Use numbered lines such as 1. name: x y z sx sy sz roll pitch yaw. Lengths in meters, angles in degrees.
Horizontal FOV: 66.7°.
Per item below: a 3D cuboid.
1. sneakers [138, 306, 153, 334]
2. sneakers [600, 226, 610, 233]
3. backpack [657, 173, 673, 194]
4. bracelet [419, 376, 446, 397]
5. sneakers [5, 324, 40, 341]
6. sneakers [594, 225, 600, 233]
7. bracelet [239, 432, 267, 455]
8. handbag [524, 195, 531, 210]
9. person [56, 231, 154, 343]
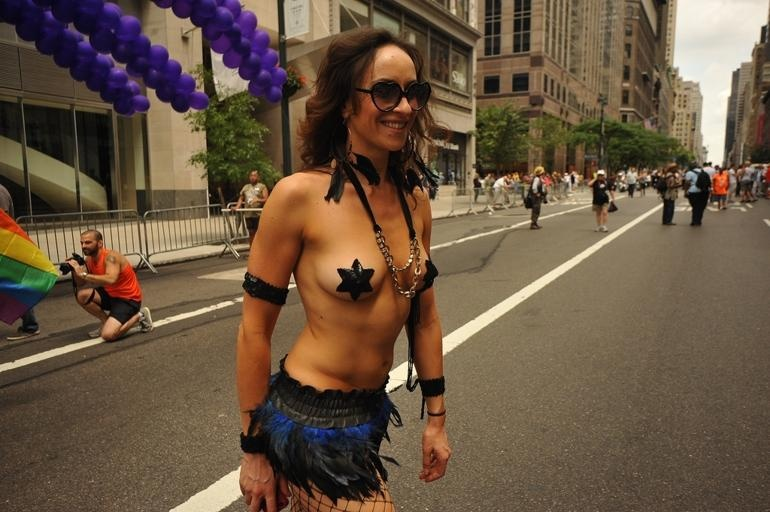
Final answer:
1. sneakers: -3.358 0.888 8.188 0.127 0.403 0.164 -3 17 2
2. sneakers: 6.844 -0.815 18.163 0.148 0.198 0.473 2 11 22
3. backpack: 9.418 -2.395 19.629 0.595 0.690 0.480 7 2 7
4. bracelet: 0.281 0.783 3.526 0.104 0.098 0.135 -3 -5 5
5. sneakers: -5.018 1.080 8.057 0.403 0.196 0.168 2 -3 -16
6. sneakers: 6.714 -0.827 18.380 0.146 0.206 0.455 -1 3 36
7. bracelet: -0.733 1.021 3.166 0.113 0.100 0.098 5 -8 -12
8. handbag: 4.659 -1.729 18.988 0.196 0.366 0.771 2 14 13
9. person: -3.893 0.378 8.107 0.975 1.359 0.812 11 17 43
